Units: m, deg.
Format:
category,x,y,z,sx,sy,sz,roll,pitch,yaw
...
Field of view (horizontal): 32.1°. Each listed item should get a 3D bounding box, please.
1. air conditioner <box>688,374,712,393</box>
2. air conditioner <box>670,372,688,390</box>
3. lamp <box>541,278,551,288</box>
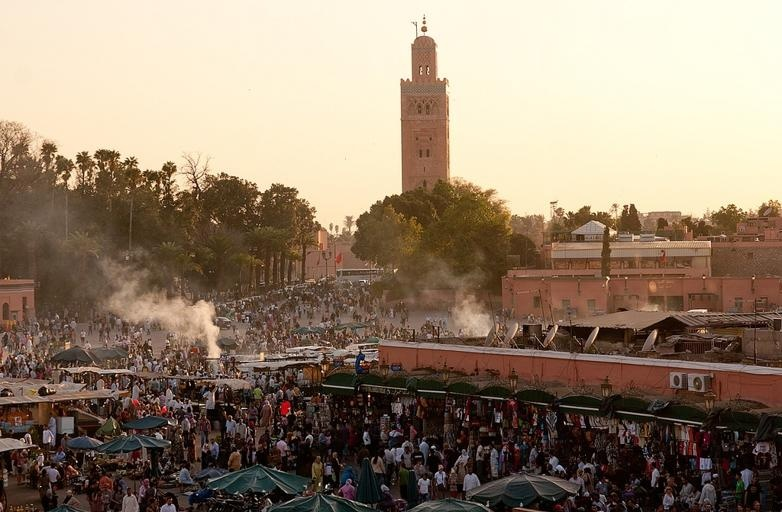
category,x,y,z,sx,sy,sz,roll,pitch,yaw
air conditioner,12.008,4.985,52.792,0.630,0.841,1.146,2,-2,-33
air conditioner,11.258,4.932,53.134,0.555,0.716,0.819,2,-3,-31
lamp,9.883,1.818,86.564,0.438,0.540,0.809,0,1,8
